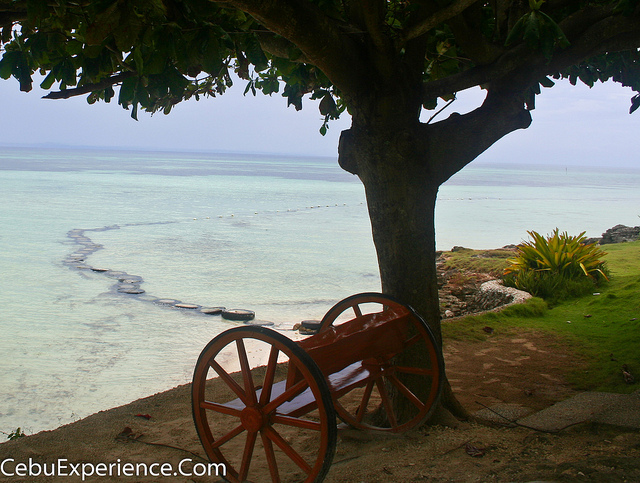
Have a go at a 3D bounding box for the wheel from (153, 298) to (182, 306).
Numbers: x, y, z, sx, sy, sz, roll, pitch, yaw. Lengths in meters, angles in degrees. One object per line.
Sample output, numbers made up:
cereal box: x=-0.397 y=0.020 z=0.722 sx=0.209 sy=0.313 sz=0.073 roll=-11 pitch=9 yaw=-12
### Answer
wheel: x=-3.958 y=1.517 z=13.431 sx=0.748 sy=0.091 sz=0.669 roll=-4 pitch=5 yaw=4

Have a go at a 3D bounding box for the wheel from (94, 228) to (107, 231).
wheel: x=-11.090 y=-0.659 z=26.389 sx=0.522 sy=0.081 sz=0.465 roll=-6 pitch=6 yaw=-19

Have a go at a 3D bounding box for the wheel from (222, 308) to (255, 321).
wheel: x=-1.880 y=1.671 z=12.139 sx=0.903 sy=0.184 sz=0.430 roll=-1 pitch=6 yaw=30

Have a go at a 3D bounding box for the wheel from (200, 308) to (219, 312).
wheel: x=-2.692 y=1.625 z=12.775 sx=0.478 sy=0.022 sz=0.343 roll=-3 pitch=5 yaw=10

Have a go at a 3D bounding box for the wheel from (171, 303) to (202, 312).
wheel: x=-3.322 y=1.603 z=12.995 sx=0.718 sy=0.114 sz=0.619 roll=-5 pitch=5 yaw=-12

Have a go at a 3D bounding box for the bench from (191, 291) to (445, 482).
bench: x=-0.007 y=1.485 z=5.233 sx=1.626 sy=1.274 sz=2.158 roll=-6 pitch=-1 yaw=36

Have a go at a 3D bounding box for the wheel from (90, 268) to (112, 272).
wheel: x=-7.125 y=0.879 z=17.012 sx=0.585 sy=0.081 sz=0.473 roll=-6 pitch=6 yaw=-17

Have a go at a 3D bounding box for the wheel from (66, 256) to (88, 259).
wheel: x=-8.865 y=0.528 z=19.077 sx=0.595 sy=0.089 sz=0.470 roll=-7 pitch=6 yaw=-22

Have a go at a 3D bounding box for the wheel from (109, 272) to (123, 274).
wheel: x=-6.498 y=0.947 z=16.689 sx=0.381 sy=0.049 sz=0.242 roll=-6 pitch=5 yaw=-12
